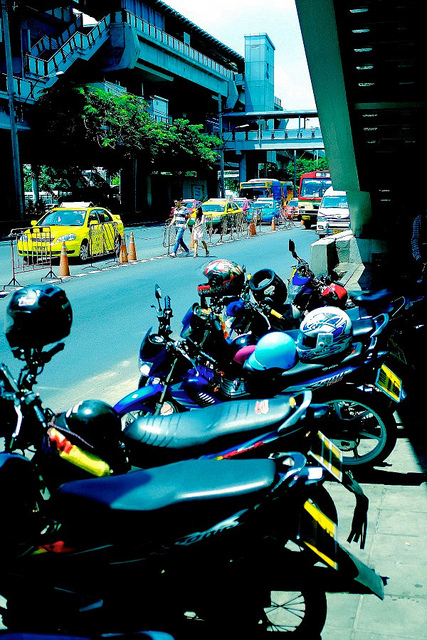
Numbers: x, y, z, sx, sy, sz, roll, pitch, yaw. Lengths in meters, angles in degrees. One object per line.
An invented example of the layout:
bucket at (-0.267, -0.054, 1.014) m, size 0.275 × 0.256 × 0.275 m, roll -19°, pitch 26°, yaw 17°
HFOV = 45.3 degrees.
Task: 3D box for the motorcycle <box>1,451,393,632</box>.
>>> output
motorcycle at (-0.074, 0.686, 2.119) m, size 1.339 × 0.817 × 0.686 m, roll -1°, pitch 25°, yaw 5°

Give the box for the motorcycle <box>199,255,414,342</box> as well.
motorcycle at (1.199, -0.253, 5.663) m, size 0.931 × 1.024 × 1.873 m, roll -10°, pitch 1°, yaw -17°

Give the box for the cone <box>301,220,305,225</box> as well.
cone at (7.523, -8.209, 43.149) m, size 0.261 × 0.330 × 0.542 m, roll -4°, pitch 6°, yaw 12°

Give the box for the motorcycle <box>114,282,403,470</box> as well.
motorcycle at (0.251, 0.469, 4.100) m, size 2.399 × 1.542 × 1.087 m, roll -6°, pitch 11°, yaw 21°

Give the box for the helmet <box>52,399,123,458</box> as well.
helmet at (-0.540, 0.452, 2.303) m, size 0.211 × 0.217 × 0.264 m, roll 41°, pitch 3°, yaw -39°

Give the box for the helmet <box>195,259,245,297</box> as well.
helmet at (0.075, -0.380, 4.664) m, size 0.412 × 0.331 × 0.307 m, roll 0°, pitch 6°, yaw 4°

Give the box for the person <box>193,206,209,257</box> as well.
person at (-0.450, -3.350, 19.368) m, size 0.600 × 1.881 × 0.963 m, roll 8°, pitch 7°, yaw -7°

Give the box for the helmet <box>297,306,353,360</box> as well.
helmet at (0.790, 0.074, 3.751) m, size 0.389 × 0.305 × 0.322 m, roll -6°, pitch 15°, yaw -1°

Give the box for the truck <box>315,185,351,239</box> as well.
truck at (6.728, -6.269, 28.114) m, size 2.051 × 2.375 × 4.437 m, roll 2°, pitch 26°, yaw 8°

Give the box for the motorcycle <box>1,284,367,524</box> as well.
motorcycle at (-0.302, 0.307, 2.319) m, size 1.767 × 1.077 × 0.948 m, roll 0°, pitch 8°, yaw 3°

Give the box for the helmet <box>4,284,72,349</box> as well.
helmet at (-0.757, -0.042, 2.218) m, size 0.233 × 0.232 × 0.297 m, roll -20°, pitch 18°, yaw -32°

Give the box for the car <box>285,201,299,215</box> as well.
car at (6.361, -9.030, 41.194) m, size 1.008 × 0.837 × 1.721 m, roll -1°, pitch 13°, yaw 6°

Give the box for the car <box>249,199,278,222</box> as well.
car at (3.928, -8.211, 38.071) m, size 1.756 × 1.987 × 3.811 m, roll 10°, pitch 7°, yaw 5°

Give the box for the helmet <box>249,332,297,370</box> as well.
helmet at (0.423, 0.214, 3.575) m, size 0.299 × 0.165 × 0.222 m, roll 0°, pitch 29°, yaw 4°

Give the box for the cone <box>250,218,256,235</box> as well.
cone at (2.269, -5.377, 29.507) m, size 0.288 × 0.833 × 0.727 m, roll 10°, pitch 7°, yaw 7°

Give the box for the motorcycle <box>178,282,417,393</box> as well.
motorcycle at (0.604, 0.180, 3.969) m, size 1.616 × 0.879 × 0.760 m, roll -5°, pitch -19°, yaw 6°

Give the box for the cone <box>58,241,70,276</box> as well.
cone at (-4.269, -1.717, 14.846) m, size 0.309 × 0.913 × 0.725 m, roll 7°, pitch 7°, yaw -17°

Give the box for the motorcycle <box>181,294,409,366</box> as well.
motorcycle at (0.603, -0.113, 4.256) m, size 1.503 × 0.829 × 0.775 m, roll 2°, pitch 21°, yaw 3°
